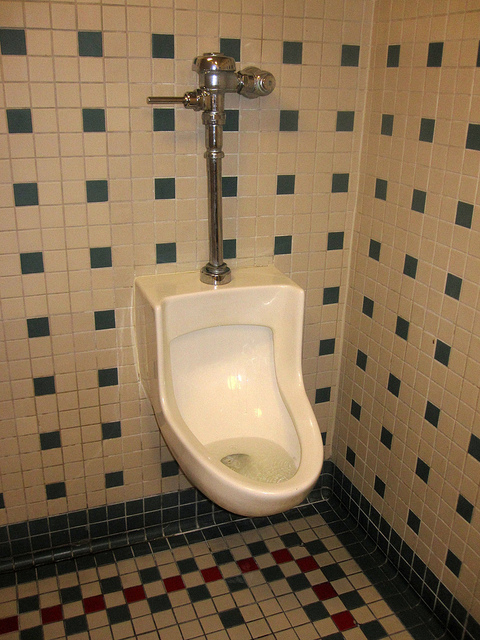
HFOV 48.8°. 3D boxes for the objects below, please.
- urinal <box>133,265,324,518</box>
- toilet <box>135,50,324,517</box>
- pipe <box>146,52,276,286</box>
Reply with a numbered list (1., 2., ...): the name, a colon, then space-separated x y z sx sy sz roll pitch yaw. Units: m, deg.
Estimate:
1. urinal: -0.025 0.131 1.174 0.390 0.387 0.604 -5 18 -11
2. toilet: -0.014 -0.103 1.114 0.411 0.857 0.619 -5 18 -10
3. pipe: -0.057 -0.330 1.194 0.267 0.509 0.216 -3 17 -7
